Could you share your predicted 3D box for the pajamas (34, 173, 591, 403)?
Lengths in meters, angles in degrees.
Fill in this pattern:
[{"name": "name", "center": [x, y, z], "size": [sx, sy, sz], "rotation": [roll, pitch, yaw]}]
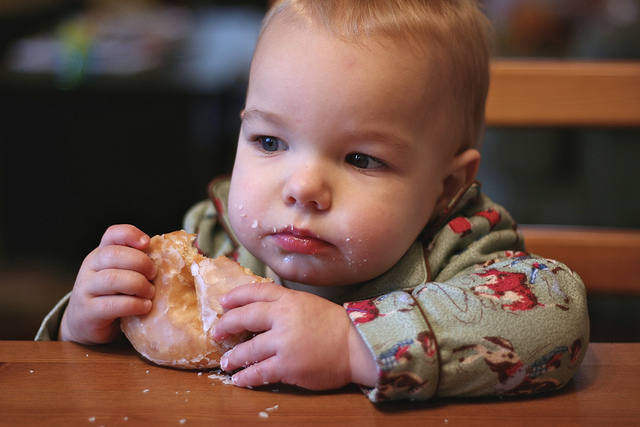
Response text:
[{"name": "pajamas", "center": [0.069, 0.093, 2.097], "size": [1.451, 0.583, 0.983], "rotation": [14, 20, 41]}]
